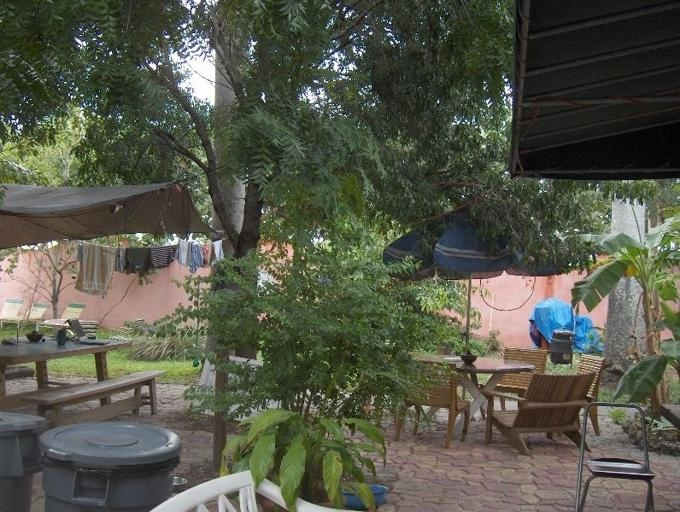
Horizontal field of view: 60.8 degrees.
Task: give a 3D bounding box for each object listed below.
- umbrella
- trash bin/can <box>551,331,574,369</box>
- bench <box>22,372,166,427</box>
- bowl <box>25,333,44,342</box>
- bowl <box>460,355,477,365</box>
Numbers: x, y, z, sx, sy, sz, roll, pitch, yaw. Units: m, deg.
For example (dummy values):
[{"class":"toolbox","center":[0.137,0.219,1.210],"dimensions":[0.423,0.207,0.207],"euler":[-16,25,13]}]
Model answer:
[{"class":"umbrella","center":[1.997,0.788,9.860],"dimensions":[2.419,2.278,2.557],"euler":[1,-9,-1]},{"class":"trash bin/can","center":[5.468,2.245,14.366],"dimensions":[0.588,0.828,0.565],"euler":[2,1,-41]},{"class":"bench","center":[-3.070,1.920,7.602],"dimensions":[0.225,0.511,2.061],"euler":[12,-2,18]},{"class":"bowl","center":[-4.390,1.184,8.361],"dimensions":[0.159,0.093,0.165],"euler":[-2,-7,0]},{"class":"bowl","center":[1.740,1.409,7.910],"dimensions":[0.157,0.114,0.164],"euler":[-2,-1,0]}]
